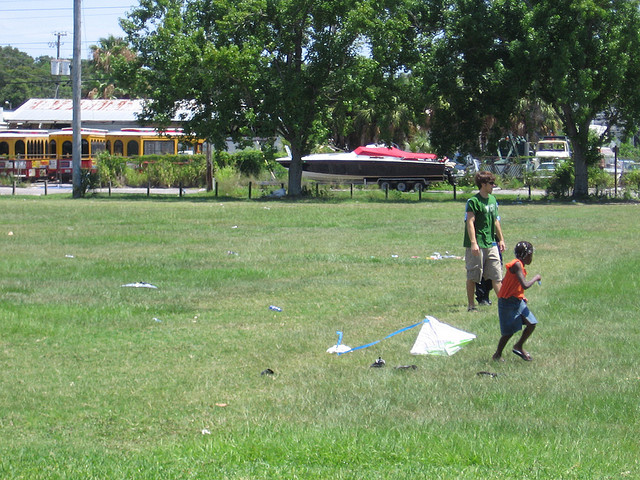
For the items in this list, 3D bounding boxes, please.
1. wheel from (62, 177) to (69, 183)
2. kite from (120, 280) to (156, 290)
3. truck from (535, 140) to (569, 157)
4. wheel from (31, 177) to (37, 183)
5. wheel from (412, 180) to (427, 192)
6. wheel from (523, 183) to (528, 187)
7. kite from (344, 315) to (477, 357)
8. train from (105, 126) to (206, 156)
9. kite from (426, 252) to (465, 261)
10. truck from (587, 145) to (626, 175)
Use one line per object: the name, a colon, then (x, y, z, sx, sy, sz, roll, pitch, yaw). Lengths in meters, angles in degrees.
wheel: (-15.127, -3.577, 85.857, 0.195, 0.271, 0.502, 0, 3, 36)
kite: (-5.769, 1.475, 45.959, 1.160, 0.199, 0.540, -1, 3, 6)
truck: (14.131, -5.613, 88.550, 1.121, 0.947, 1.910, 1, 7, 14)
wheel: (-17.010, -3.556, 85.808, 0.317, 0.310, 0.076, 6, -6, 5)
wheel: (5.238, -2.910, 77.504, 0.862, 0.907, 0.331, 4, 4, -16)
wheel: (11.255, -3.022, 79.737, 0.064, 0.271, 0.270, 11, -3, -43)
kite: (3.447, 2.944, 42.203, 2.232, 0.702, 1.710, -17, 22, -36)
train: (-10.023, -5.860, 85.951, 5.750, 1.992, 3.166, 0, 5, -4)
kite: (4.289, 0.574, 49.844, 1.267, 0.214, 1.199, -1, 3, 12)
truck: (17.566, -5.007, 88.261, 1.438, 1.902, 41.844, -1, 3, 12)
